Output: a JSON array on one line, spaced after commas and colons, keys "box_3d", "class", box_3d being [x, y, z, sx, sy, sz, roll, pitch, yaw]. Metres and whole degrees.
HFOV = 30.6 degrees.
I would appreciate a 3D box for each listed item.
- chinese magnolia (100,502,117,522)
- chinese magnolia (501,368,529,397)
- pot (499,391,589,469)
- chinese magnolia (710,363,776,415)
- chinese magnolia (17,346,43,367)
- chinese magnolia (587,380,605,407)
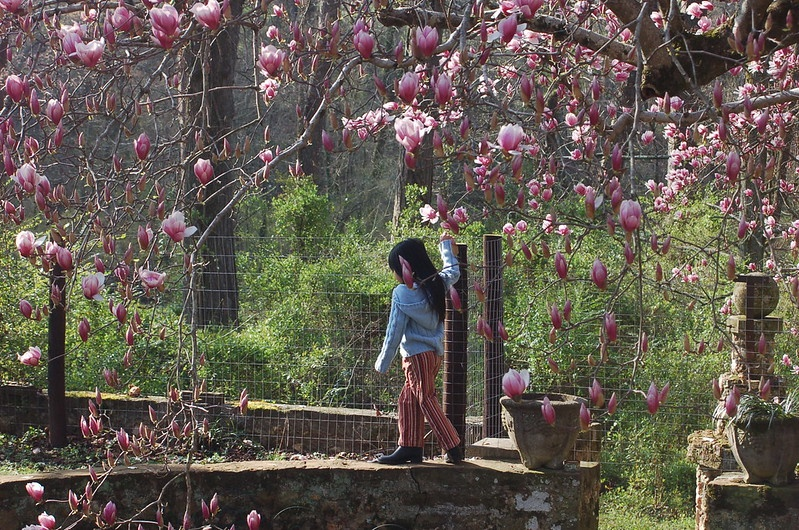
[{"box_3d": [-2.081, 1.776, 10.458, 0.075, 0.161, 0.244, 1, -9, -8], "class": "chinese magnolia"}, {"box_3d": [0.788, 0.792, 9.955, 0.156, 0.228, 0.182, -14, 4, -18], "class": "chinese magnolia"}, {"box_3d": [1.141, 1.326, 11.547, 0.599, 0.572, 0.670, 0, -6, -1], "class": "pot"}, {"box_3d": [2.758, 0.992, 11.633, 0.688, 0.304, 0.522, -9, 9, -31], "class": "chinese magnolia"}, {"box_3d": [-2.640, 0.644, 10.433, 0.127, 0.141, 0.304, 2, -10, -19], "class": "chinese magnolia"}, {"box_3d": [1.332, 0.864, 9.844, 0.081, 0.194, 0.288, -2, -9, 9], "class": "chinese magnolia"}]
